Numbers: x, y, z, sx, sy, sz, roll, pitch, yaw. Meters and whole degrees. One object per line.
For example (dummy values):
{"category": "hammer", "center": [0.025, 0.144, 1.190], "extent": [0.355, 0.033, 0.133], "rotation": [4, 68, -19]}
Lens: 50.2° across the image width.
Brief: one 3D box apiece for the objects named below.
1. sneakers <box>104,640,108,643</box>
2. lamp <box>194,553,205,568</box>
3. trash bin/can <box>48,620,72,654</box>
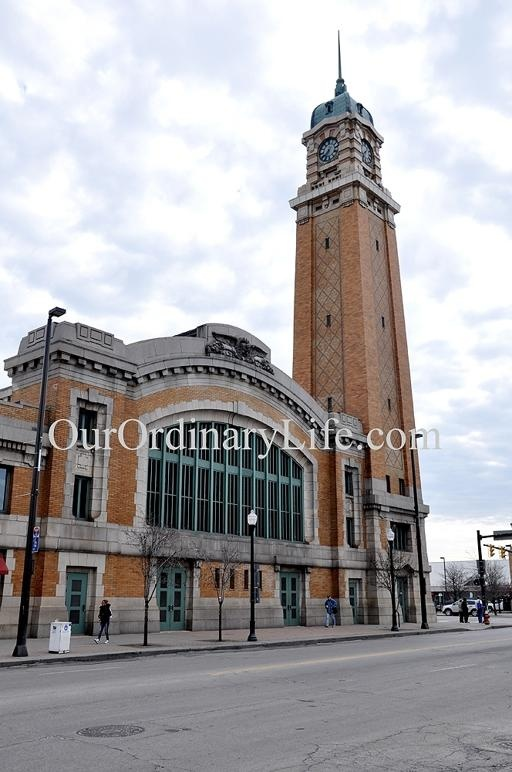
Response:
{"category": "sneakers", "center": [-5.335, 9.202, 19.595], "extent": [0.092, 0.105, 0.239], "rotation": [-1, -25, 0]}
{"category": "lamp", "center": [-2.810, 8.699, 27.086], "extent": [0.461, 0.726, 0.489], "rotation": [3, -17, -19]}
{"category": "trash bin/can", "center": [-5.632, 7.325, 15.850], "extent": [0.502, 0.856, 0.721], "rotation": [12, -22, -42]}
